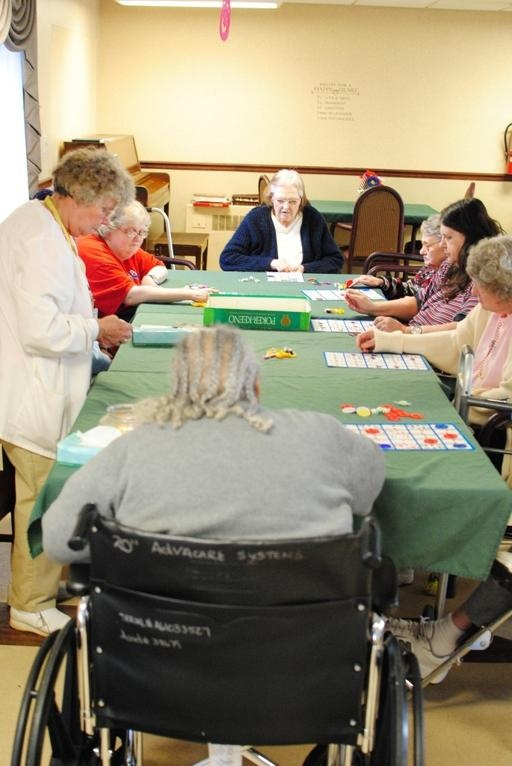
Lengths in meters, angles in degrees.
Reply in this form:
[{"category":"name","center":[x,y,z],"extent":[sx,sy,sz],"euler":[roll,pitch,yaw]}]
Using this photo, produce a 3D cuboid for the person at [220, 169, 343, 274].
[{"category":"person","center":[0.168,-1.035,3.892],"extent":[0.806,0.656,0.570],"euler":[2,18,6]}]
